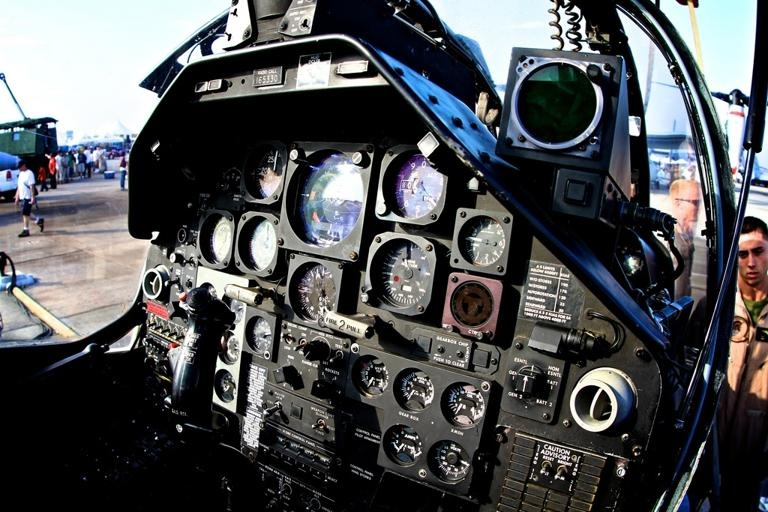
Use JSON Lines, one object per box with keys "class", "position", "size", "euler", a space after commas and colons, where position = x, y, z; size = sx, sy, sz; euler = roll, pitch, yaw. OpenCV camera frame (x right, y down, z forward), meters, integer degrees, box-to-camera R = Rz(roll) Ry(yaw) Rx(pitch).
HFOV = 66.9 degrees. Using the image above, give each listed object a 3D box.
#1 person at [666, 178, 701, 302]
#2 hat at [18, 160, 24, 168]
{"class": "person", "position": [3.042, -0.236, 6.000], "size": [0.311, 1.100, 0.784], "euler": [7, 12, 24]}
{"class": "hat", "position": [-2.654, -0.678, 4.253], "size": [0.036, 0.049, 0.050], "euler": [13, 41, -21]}
